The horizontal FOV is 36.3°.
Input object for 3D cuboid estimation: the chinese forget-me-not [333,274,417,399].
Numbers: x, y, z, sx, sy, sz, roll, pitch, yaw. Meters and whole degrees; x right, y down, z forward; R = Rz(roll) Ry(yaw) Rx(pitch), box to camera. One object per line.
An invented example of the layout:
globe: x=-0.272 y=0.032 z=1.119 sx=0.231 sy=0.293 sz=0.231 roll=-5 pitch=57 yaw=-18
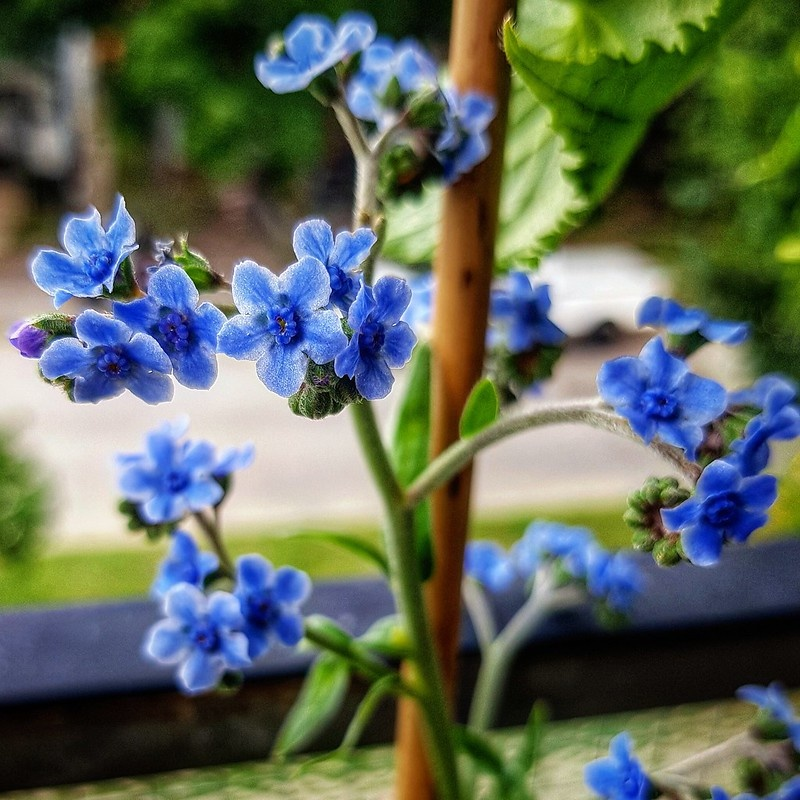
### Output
chinese forget-me-not: x=-0.012 y=-0.032 z=0.631 sx=0.015 sy=0.054 sz=0.056 roll=8 pitch=55 yaw=34

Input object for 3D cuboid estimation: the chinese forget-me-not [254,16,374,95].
chinese forget-me-not: x=-0.049 y=-0.206 z=0.715 sx=0.068 sy=0.048 sz=0.084 roll=-2 pitch=11 yaw=-3

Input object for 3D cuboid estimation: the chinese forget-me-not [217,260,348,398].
chinese forget-me-not: x=-0.059 y=-0.038 z=0.620 sx=0.064 sy=0.068 sz=0.036 roll=-2 pitch=11 yaw=-2

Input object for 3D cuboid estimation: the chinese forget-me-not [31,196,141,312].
chinese forget-me-not: x=-0.165 y=-0.078 z=0.639 sx=0.059 sy=0.056 sz=0.036 roll=-1 pitch=11 yaw=0

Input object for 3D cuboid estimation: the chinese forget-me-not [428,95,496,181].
chinese forget-me-not: x=0.028 y=-0.161 z=0.712 sx=0.010 sy=0.045 sz=0.046 roll=-14 pitch=23 yaw=32

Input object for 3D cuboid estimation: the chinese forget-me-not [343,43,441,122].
chinese forget-me-not: x=-0.006 y=-0.203 z=0.752 sx=0.055 sy=0.023 sz=0.066 roll=-8 pitch=45 yaw=-18
